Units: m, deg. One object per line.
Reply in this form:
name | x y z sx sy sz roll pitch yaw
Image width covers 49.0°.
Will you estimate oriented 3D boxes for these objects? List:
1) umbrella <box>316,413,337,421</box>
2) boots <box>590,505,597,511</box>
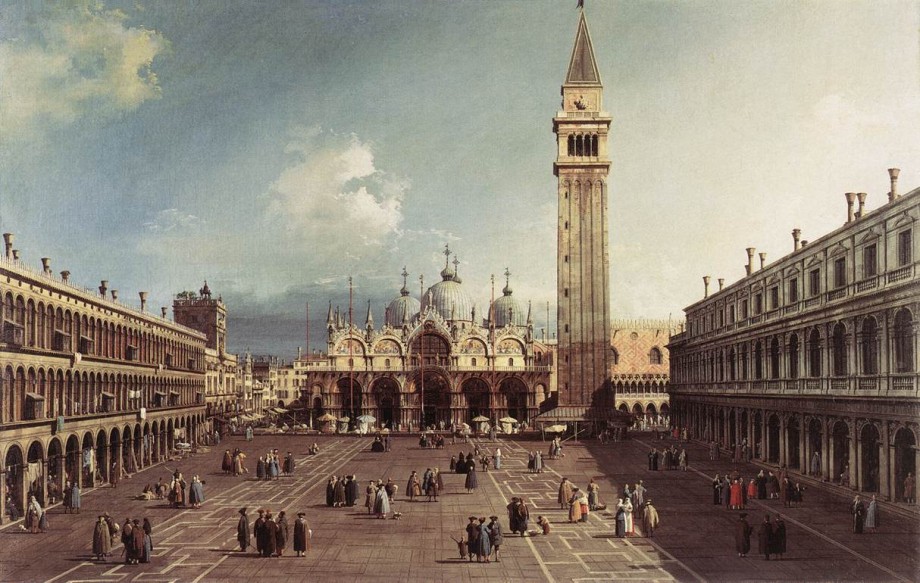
umbrella | -20.055 18.693 151.611 1.884 0.956 2.292 -1 -9 5
boots | 11.009 17.808 83.437 0.405 0.377 0.391 -2 -4 22
